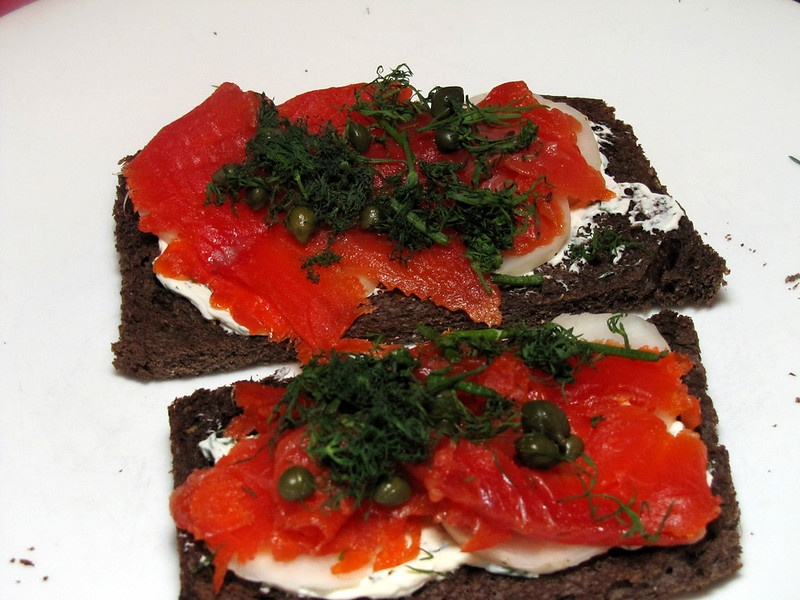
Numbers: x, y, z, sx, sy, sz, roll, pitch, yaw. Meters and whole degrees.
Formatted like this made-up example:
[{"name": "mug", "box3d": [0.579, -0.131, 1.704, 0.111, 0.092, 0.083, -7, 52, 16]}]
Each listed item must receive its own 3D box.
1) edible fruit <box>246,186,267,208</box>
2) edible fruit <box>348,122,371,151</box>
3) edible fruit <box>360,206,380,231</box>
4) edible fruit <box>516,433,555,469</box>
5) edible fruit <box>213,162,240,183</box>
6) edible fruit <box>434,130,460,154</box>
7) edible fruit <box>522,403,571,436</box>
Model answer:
[{"name": "edible fruit", "box3d": [-0.796, -0.576, 4.889, 0.098, 0.065, 0.113, 20, 63, 15]}, {"name": "edible fruit", "box3d": [-0.230, -0.917, 4.973, 0.119, 0.093, 0.156, -27, 92, 10]}, {"name": "edible fruit", "box3d": [-0.166, -0.461, 4.865, 0.115, 0.071, 0.115, -6, 65, 5]}, {"name": "edible fruit", "box3d": [0.663, 0.713, 4.268, 0.197, 0.117, 0.139, 15, 106, 9]}, {"name": "edible fruit", "box3d": [-0.963, -0.708, 4.905, 0.101, 0.032, 0.130, 39, 84, 23]}, {"name": "edible fruit", "box3d": [0.266, -0.890, 4.934, 0.128, 0.093, 0.108, -7, 66, 5]}, {"name": "edible fruit", "box3d": [0.702, 0.572, 4.264, 0.228, 0.097, 0.179, -1, 66, 7]}]
